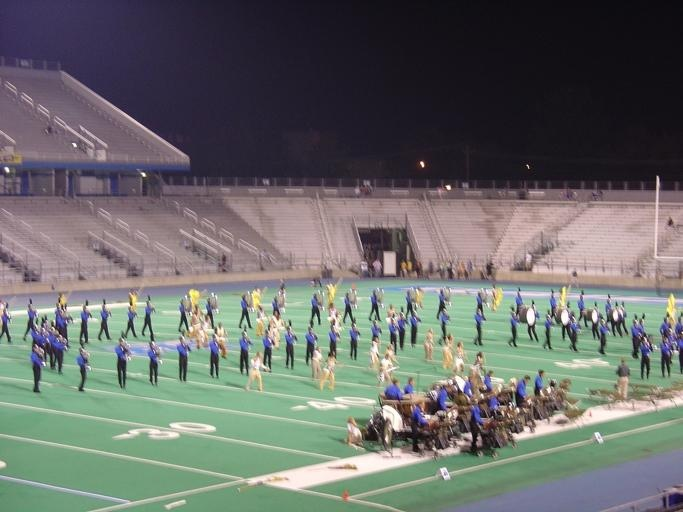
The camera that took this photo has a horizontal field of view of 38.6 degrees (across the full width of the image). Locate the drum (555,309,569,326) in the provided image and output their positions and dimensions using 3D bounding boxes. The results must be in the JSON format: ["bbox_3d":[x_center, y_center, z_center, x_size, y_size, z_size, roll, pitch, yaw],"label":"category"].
[{"bbox_3d":[7.190,2.000,31.429,0.321,0.602,0.579,1,8,4],"label":"drum"}]

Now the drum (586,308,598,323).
[{"bbox_3d":[8.297,1.948,32.200,0.121,0.407,0.306,3,19,-20],"label":"drum"}]

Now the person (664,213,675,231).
[{"bbox_3d":[17.642,-1.791,52.026,0.440,0.643,0.773,2,8,16],"label":"person"}]

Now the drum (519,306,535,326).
[{"bbox_3d":[6.216,1.991,32.555,0.617,0.548,0.545,8,0,-12],"label":"drum"}]
